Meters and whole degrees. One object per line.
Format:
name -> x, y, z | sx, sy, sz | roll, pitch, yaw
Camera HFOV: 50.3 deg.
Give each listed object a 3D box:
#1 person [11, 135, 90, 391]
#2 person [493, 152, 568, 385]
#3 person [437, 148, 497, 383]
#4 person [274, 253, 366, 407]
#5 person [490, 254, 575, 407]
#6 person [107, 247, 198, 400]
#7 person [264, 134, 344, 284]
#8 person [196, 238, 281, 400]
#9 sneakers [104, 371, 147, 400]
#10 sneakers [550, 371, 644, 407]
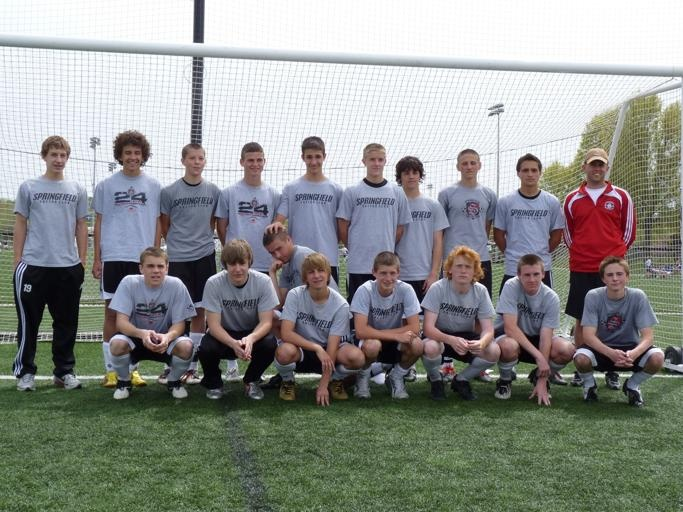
person -> -2.471, 0.057, 6.150 | 0.613, 2.082, 0.432 | -2, 8, -19
person -> 1.824, 0.114, 7.035 | 0.721, 2.182, 0.515 | 1, 5, 25
person -> 1.242, 0.074, 7.114 | 0.543, 2.146, 0.455 | 1, -2, 12
person -> -0.175, 0.579, 5.985 | 0.722, 1.201, 0.565 | 0, 8, -5
person -> 1.597, 0.614, 6.204 | 0.735, 1.170, 0.806 | -3, 10, -34
person -> -1.581, 0.549, 6.002 | 0.722, 1.164, 0.689 | -2, 6, -35
person -> -0.302, -0.205, 6.702 | 0.896, 1.671, 0.517 | -4, 10, -19
person -> -0.847, 0.525, 5.955 | 0.643, 1.310, 0.544 | 0, 8, -6
sneakers -> -1.865, 1.089, 6.133 | 0.149, 0.192, 0.442 | 3, -18, -9
sneakers -> 2.279, 1.095, 6.028 | 0.444, 0.215, 0.286 | 5, 9, 25
